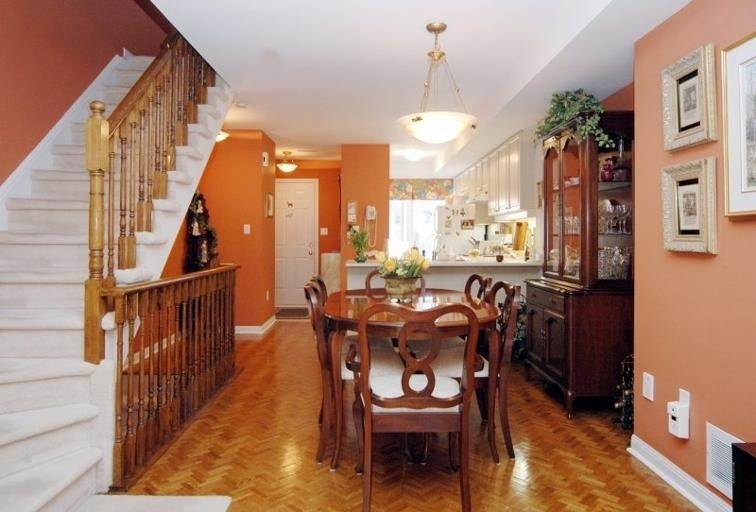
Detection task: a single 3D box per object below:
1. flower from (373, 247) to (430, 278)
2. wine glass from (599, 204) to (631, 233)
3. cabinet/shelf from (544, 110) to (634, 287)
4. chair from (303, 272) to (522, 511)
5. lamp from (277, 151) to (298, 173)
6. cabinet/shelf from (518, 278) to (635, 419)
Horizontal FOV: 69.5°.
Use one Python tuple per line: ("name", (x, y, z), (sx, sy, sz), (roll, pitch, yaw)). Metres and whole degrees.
("flower", (0.214, 0.075, 5.213), (0.378, 0.236, 0.361), (0, 1, -3))
("wine glass", (2.173, -0.323, 5.048), (0.265, 0.302, 0.263), (0, 2, -22))
("cabinet/shelf", (2.050, -0.534, 5.217), (0.648, 1.621, 0.848), (0, 11, 1))
("chair", (0.198, 0.978, 4.482), (1.168, 1.024, 1.958), (0, 1, 0))
("lamp", (-1.634, -1.674, 9.685), (0.340, 0.363, 0.351), (1, 12, -1))
("cabinet/shelf", (2.035, 0.791, 5.681), (0.909, 1.529, 1.572), (1, -1, 3))
